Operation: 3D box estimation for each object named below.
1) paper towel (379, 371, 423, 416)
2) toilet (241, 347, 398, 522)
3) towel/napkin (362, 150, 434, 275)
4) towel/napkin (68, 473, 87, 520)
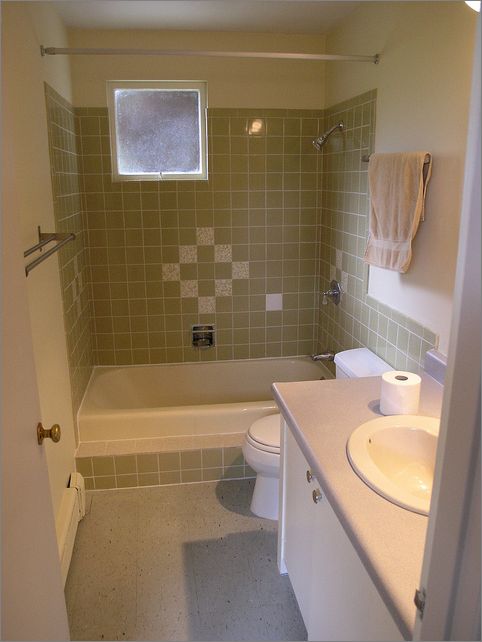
[{"bbox_3d":[0.504,0.232,1.559,0.096,0.166,0.130,2,25,4],"label":"paper towel"},{"bbox_3d":[0.352,0.537,2.822,0.710,1.195,0.613,-1,16,-9],"label":"toilet"},{"bbox_3d":[0.703,-0.648,2.204,0.278,0.080,0.424,-8,53,29],"label":"towel/napkin"},{"bbox_3d":[-0.825,0.894,2.441,0.052,0.263,0.196,-4,1,-2],"label":"towel/napkin"}]
